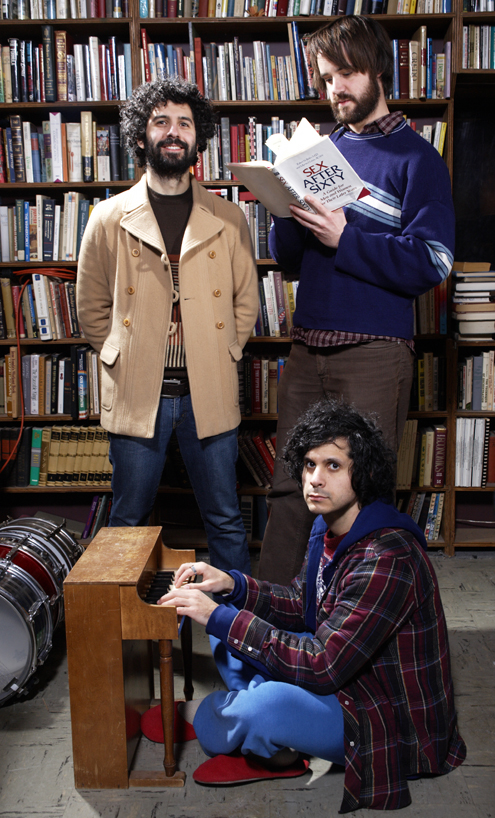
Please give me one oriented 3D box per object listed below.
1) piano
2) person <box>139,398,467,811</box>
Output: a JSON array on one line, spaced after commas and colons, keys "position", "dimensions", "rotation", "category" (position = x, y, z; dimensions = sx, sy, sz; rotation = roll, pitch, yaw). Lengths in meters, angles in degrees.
[{"position": [-0.240, 0.522, 1.321], "dimensions": [0.213, 0.420, 0.435], "rotation": [-2, 10, 0], "category": "piano"}, {"position": [0.141, 0.337, 1.526], "dimensions": [0.722, 0.881, 0.656], "rotation": [1, -1, -7], "category": "person"}]
